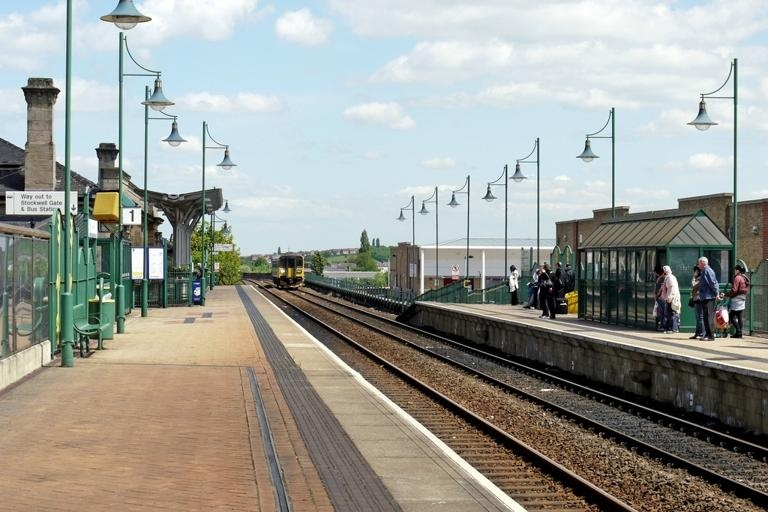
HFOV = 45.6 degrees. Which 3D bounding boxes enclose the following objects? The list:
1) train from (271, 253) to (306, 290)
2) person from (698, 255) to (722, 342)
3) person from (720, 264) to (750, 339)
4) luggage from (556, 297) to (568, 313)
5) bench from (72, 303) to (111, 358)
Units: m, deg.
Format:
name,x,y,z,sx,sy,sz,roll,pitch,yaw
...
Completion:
name,x,y,z,sx,sy,sz,roll,pitch,yaw
train,-9.394,1.638,96.671,2.850,4.225,12.514,0,-3,-10
person,8.501,1.097,23.716,0.454,2.244,0.589,-1,-3,-8
person,9.462,1.183,24.291,0.788,2.250,0.749,1,-2,-13
luggage,6.583,1.845,33.696,0.442,0.605,0.830,0,1,6
bench,-7.896,1.970,24.456,0.713,1.183,2.106,-1,1,-11
